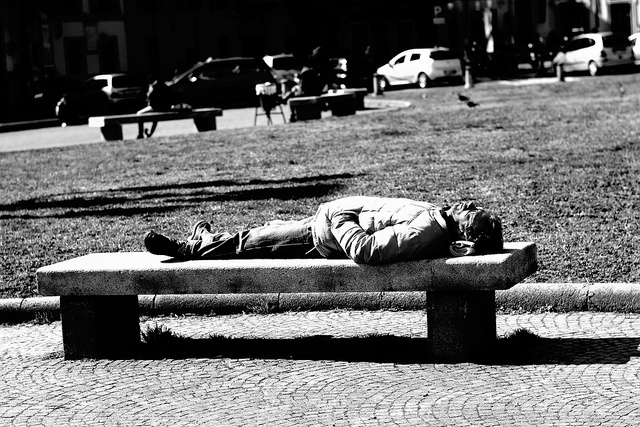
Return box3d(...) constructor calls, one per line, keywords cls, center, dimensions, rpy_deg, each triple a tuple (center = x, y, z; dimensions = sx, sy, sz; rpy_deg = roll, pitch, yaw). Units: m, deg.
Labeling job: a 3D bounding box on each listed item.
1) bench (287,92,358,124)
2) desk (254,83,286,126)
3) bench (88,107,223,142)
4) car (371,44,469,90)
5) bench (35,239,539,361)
box3d(cls="bench", center=(0.076, -2.803, 42.027), dimensions=(1.734, 0.642, 0.694), rpy_deg=(-4, 7, 0))
box3d(cls="desk", center=(-1.396, -3.085, 44.064), dimensions=(0.816, 1.110, 4.854), rpy_deg=(-4, 7, -2))
box3d(cls="bench", center=(-4.140, -2.365, 42.109), dimensions=(3.212, 0.767, 1.458), rpy_deg=(-5, 12, -20))
box3d(cls="car", center=(3.215, -5.055, 56.046), dimensions=(1.925, 1.356, 4.465), rpy_deg=(-7, 8, -24))
box3d(cls="bench", center=(-0.313, 1.421, 26.347), dimensions=(6.421, 1.387, 2.602), rpy_deg=(-3, 4, 11))
